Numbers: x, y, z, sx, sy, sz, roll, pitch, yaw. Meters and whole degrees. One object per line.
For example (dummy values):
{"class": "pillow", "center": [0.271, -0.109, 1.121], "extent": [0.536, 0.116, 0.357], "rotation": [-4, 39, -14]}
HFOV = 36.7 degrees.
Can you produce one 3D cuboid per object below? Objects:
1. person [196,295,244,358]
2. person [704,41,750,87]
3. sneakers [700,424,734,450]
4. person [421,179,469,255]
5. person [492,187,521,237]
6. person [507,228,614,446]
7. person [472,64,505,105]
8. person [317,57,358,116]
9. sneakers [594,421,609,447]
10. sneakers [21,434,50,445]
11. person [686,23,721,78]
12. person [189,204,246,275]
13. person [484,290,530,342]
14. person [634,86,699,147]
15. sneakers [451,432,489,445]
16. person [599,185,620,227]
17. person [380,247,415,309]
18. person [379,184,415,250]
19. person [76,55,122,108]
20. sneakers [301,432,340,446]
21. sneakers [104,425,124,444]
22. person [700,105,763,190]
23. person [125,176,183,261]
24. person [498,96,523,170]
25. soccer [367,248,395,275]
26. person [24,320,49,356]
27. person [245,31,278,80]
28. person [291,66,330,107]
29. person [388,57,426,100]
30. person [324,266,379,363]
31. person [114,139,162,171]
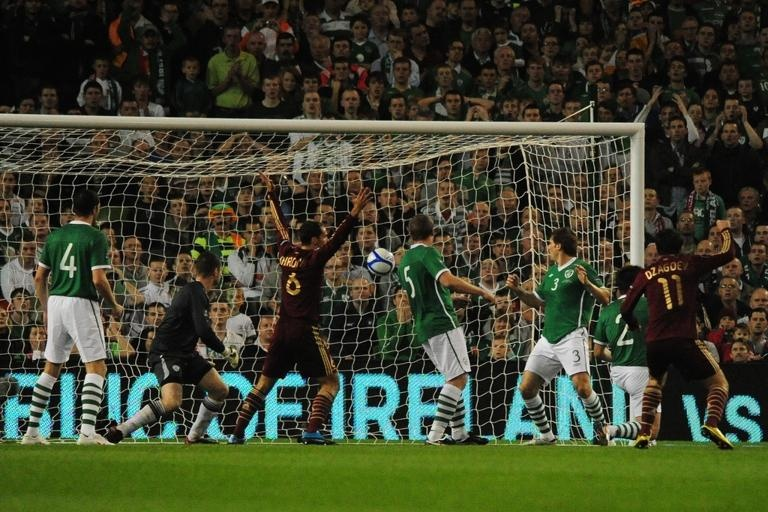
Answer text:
{"class": "person", "center": [-2.450, 1.123, 17.195], "extent": [0.652, 0.917, 0.478], "rotation": [-9, -44, -1]}
{"class": "person", "center": [6.081, -3.423, 20.683], "extent": [0.538, 0.982, 0.507], "rotation": [4, -3, 22]}
{"class": "sneakers", "center": [4.340, 2.371, 15.191], "extent": [0.425, 0.212, 0.145], "rotation": [39, -41, -1]}
{"class": "person", "center": [0.959, -0.576, 18.113], "extent": [0.774, 1.309, 0.930], "rotation": [0, -3, -17]}
{"class": "person", "center": [1.887, -0.666, 18.096], "extent": [0.560, 0.823, 0.446], "rotation": [5, -39, 3]}
{"class": "person", "center": [2.364, 1.077, 15.412], "extent": [1.217, 2.481, 0.497], "rotation": [-2, 0, 5]}
{"class": "person", "center": [1.831, -2.976, 20.261], "extent": [0.653, 0.755, 0.421], "rotation": [0, -20, 0]}
{"class": "person", "center": [-0.821, -2.869, 19.908], "extent": [0.933, 1.376, 0.507], "rotation": [0, -36, -1]}
{"class": "sneakers", "center": [2.893, 2.381, 15.566], "extent": [0.193, 0.285, 0.122], "rotation": [-2, 0, 19]}
{"class": "sneakers", "center": [-4.453, 2.328, 14.684], "extent": [0.402, 0.167, 0.147], "rotation": [3, -8, -17]}
{"class": "person", "center": [5.705, -3.640, 20.749], "extent": [0.831, 0.842, 0.464], "rotation": [4, -23, 6]}
{"class": "person", "center": [-2.503, -0.223, 17.289], "extent": [0.968, 1.424, 0.470], "rotation": [1, -40, -9]}
{"class": "person", "center": [1.858, 0.920, 17.351], "extent": [0.555, 0.753, 0.287], "rotation": [-2, -36, 5]}
{"class": "person", "center": [4.846, -2.357, 19.885], "extent": [1.029, 1.187, 0.357], "rotation": [1, -19, 5]}
{"class": "sneakers", "center": [1.129, 2.374, 15.312], "extent": [0.509, 0.222, 0.188], "rotation": [-1, -5, -7]}
{"class": "person", "center": [3.551, -0.840, 18.245], "extent": [0.294, 0.527, 1.250], "rotation": [-2, 0, 13]}
{"class": "person", "center": [0.109, 0.313, 17.426], "extent": [0.288, 0.768, 0.587], "rotation": [16, -14, -32]}
{"class": "person", "center": [0.128, -0.602, 18.002], "extent": [0.644, 0.901, 0.309], "rotation": [3, -8, -15]}
{"class": "person", "center": [-4.819, -2.861, 19.652], "extent": [0.810, 1.040, 0.538], "rotation": [-3, 11, -29]}
{"class": "sneakers", "center": [-0.820, 2.362, 15.067], "extent": [0.517, 0.241, 0.187], "rotation": [3, 3, -10]}
{"class": "sneakers", "center": [-3.336, 2.195, 14.317], "extent": [0.208, 0.209, 0.238], "rotation": [6, 11, 25]}
{"class": "person", "center": [6.021, -1.699, 19.948], "extent": [0.998, 1.219, 0.432], "rotation": [-2, 0, -22]}
{"class": "person", "center": [-3.740, -0.653, 18.420], "extent": [1.070, 1.108, 0.411], "rotation": [9, -2, -14]}
{"class": "person", "center": [2.100, -2.076, 19.516], "extent": [0.404, 1.104, 1.176], "rotation": [-2, 0, 6]}
{"class": "soccer", "center": [-0.051, 0.094, 15.372], "extent": [0.327, 0.333, 0.340], "rotation": [15, -33, 16]}
{"class": "person", "center": [-5.008, 1.211, 16.674], "extent": [0.336, 0.711, 0.400], "rotation": [2, -23, -27]}
{"class": "person", "center": [-2.149, -3.434, 20.023], "extent": [0.732, 0.782, 0.404], "rotation": [-6, -15, -6]}
{"class": "person", "center": [-1.397, -2.927, 20.090], "extent": [0.781, 0.922, 0.540], "rotation": [1, -38, -7]}
{"class": "person", "center": [0.357, -3.045, 20.088], "extent": [0.686, 0.741, 0.405], "rotation": [-1, -19, -1]}
{"class": "person", "center": [-0.496, 0.922, 17.062], "extent": [1.036, 1.690, 0.967], "rotation": [2, -21, -2]}
{"class": "person", "center": [-4.015, -1.709, 18.549], "extent": [0.916, 0.591, 0.381], "rotation": [-2, 0, 37]}
